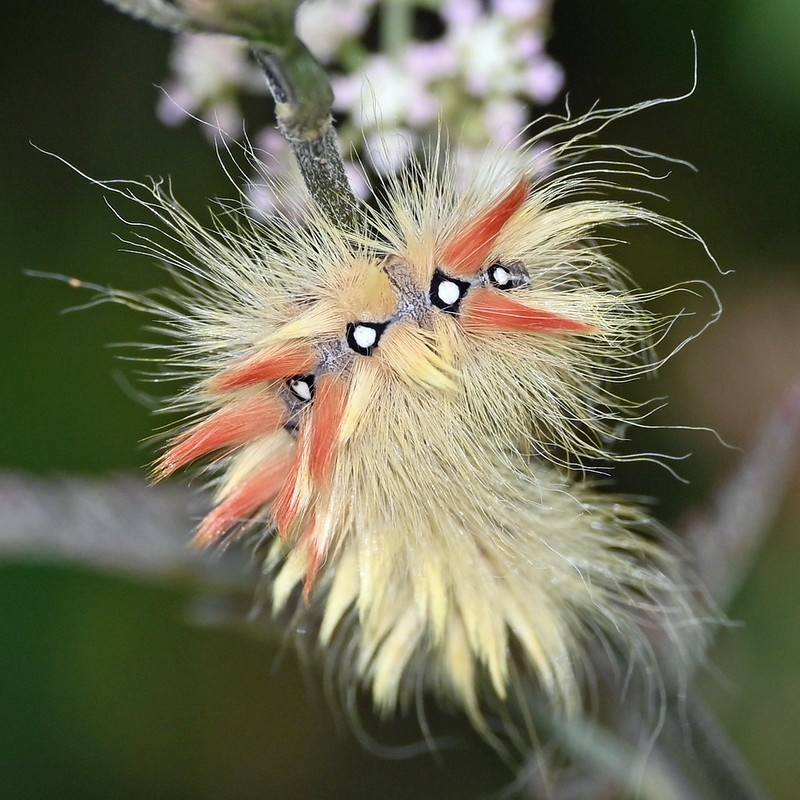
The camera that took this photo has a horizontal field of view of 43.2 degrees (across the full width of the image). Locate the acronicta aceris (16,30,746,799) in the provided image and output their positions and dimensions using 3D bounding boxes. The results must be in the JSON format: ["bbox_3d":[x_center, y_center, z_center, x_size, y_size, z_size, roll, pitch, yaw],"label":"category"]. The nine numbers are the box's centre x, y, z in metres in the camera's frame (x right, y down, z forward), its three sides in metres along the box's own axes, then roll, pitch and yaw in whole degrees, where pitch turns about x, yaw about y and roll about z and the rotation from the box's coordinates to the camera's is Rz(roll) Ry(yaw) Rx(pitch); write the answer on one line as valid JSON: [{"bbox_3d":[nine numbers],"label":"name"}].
[{"bbox_3d":[-0.033,0.012,0.655,0.461,0.141,0.362,-10,-88,-17],"label":"acronicta aceris"}]
